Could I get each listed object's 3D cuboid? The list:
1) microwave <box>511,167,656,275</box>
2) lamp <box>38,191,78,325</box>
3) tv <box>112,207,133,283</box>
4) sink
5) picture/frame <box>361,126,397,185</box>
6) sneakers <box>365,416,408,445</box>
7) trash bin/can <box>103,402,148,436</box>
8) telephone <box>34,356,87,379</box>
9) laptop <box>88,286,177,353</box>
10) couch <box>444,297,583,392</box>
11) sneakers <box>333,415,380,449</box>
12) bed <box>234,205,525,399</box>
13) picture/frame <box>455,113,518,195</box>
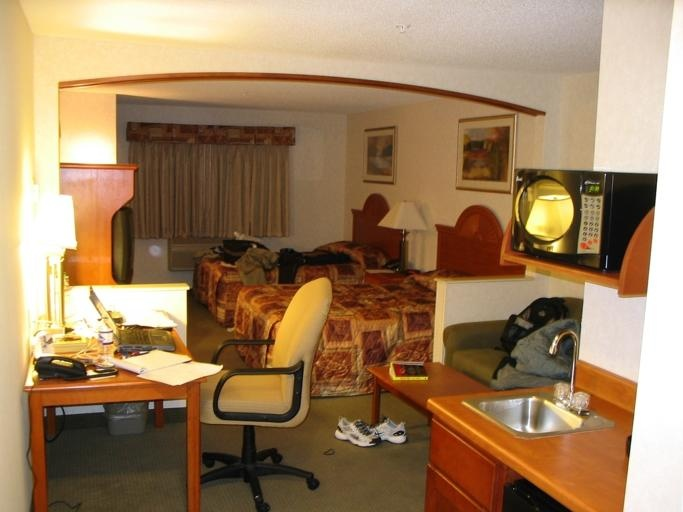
[{"bbox_3d":[1.001,-0.164,2.486,0.434,0.504,0.704,-3,10,-20],"label":"microwave"},{"bbox_3d":[-1.744,0.028,3.407,0.199,0.800,0.501,-5,14,-28],"label":"lamp"},{"bbox_3d":[-1.583,-0.081,4.076,0.116,0.471,0.431,3,-6,-19],"label":"tv"},{"bbox_3d":[0.795,0.700,2.390,0.322,0.133,0.278,0,4,-21],"label":"sink"},{"bbox_3d":[0.523,-1.366,7.432,0.035,0.714,0.737,-6,13,-33],"label":"picture/frame"},{"bbox_3d":[0.335,1.245,3.944,0.267,0.123,0.123,4,7,4],"label":"sneakers"},{"bbox_3d":[-1.514,1.156,3.899,0.290,0.211,0.221,-1,3,-22],"label":"trash bin/can"},{"bbox_3d":[-1.372,0.524,2.706,0.182,0.076,0.129,1,12,-21],"label":"telephone"},{"bbox_3d":[-1.211,0.427,3.273,0.401,0.224,0.491,2,9,-19],"label":"laptop"},{"bbox_3d":[1.306,0.446,4.006,0.647,0.616,0.916,-1,5,-17],"label":"couch"},{"bbox_3d":[0.114,1.252,3.927,0.303,0.128,0.139,5,5,33],"label":"sneakers"},{"bbox_3d":[0.333,0.453,5.297,2.023,1.359,2.089,-1,6,-18],"label":"bed"},{"bbox_3d":[1.415,-1.013,5.467,0.016,0.711,0.706,-10,14,-35],"label":"picture/frame"}]
